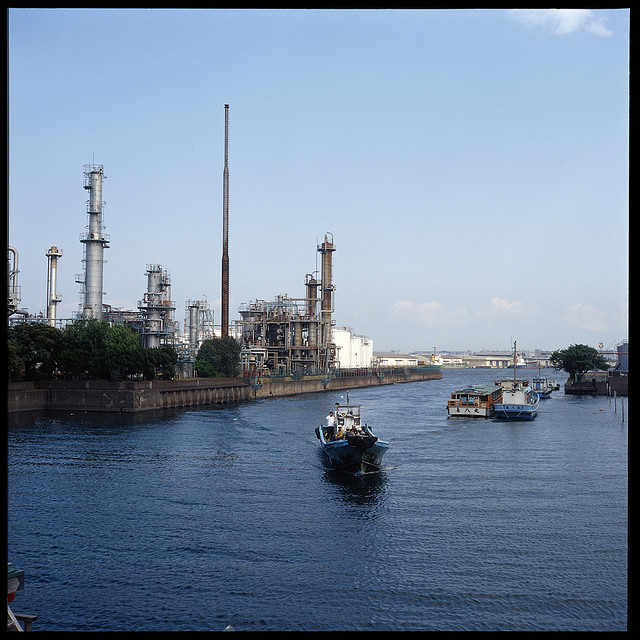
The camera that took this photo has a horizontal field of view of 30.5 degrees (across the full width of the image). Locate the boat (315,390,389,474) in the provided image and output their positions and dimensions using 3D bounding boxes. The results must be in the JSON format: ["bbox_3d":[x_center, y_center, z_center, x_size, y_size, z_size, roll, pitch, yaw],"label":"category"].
[{"bbox_3d":[1.031,4.121,40.508,1.953,1.928,3.749,1,4,-4],"label":"boat"}]

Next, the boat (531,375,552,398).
[{"bbox_3d":[15.571,4.733,83.468,1.393,1.745,4.712,-2,-4,8],"label":"boat"}]

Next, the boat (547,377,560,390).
[{"bbox_3d":[20.070,5.588,102.184,1.410,0.788,2.000,-1,1,5],"label":"boat"}]
